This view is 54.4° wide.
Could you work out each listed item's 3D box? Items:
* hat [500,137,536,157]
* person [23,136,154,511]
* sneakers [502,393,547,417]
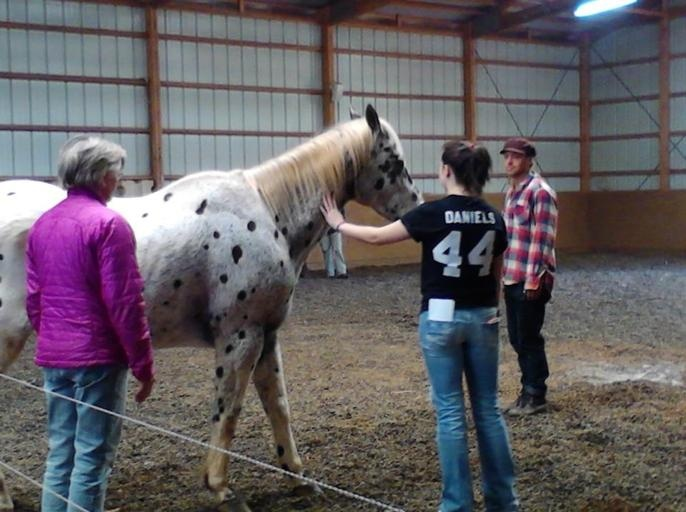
[{"bbox_3d":[1.404,-0.812,5.312,0.258,0.147,0.186,11,-2,-43],"label":"hat"},{"bbox_3d":[-1.368,0.421,3.583,0.719,2.098,0.492,0,7,-7],"label":"person"},{"bbox_3d":[1.465,1.205,5.323,0.372,0.192,0.146,-3,1,-8],"label":"sneakers"}]
